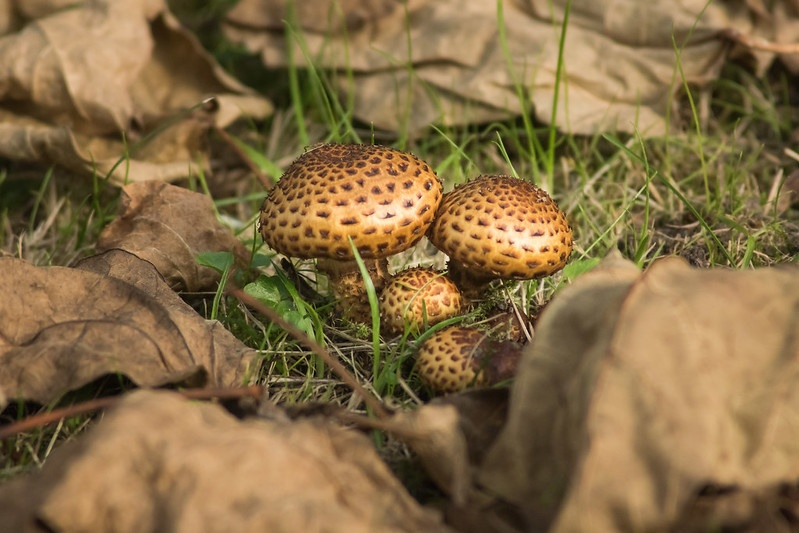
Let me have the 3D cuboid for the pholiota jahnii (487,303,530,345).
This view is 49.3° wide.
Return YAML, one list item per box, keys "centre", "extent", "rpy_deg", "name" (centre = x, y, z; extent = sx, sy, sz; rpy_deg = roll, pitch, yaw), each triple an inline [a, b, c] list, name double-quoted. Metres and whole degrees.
- centre: [0.553, 0.267, 4.320]
  extent: [0.210, 0.178, 0.257]
  rpy_deg: [6, 57, 6]
  name: "pholiota jahnii"

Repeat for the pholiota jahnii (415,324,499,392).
- centre: [0.241, 0.431, 4.065]
  extent: [0.329, 0.212, 0.333]
  rpy_deg: [5, 57, 5]
  name: "pholiota jahnii"

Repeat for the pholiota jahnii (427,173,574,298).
- centre: [0.490, -0.154, 4.154]
  extent: [0.497, 0.498, 0.567]
  rpy_deg: [15, 16, -10]
  name: "pholiota jahnii"

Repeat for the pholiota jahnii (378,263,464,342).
- centre: [0.106, 0.168, 4.229]
  extent: [0.297, 0.327, 0.271]
  rpy_deg: [-3, 97, -8]
  name: "pholiota jahnii"
